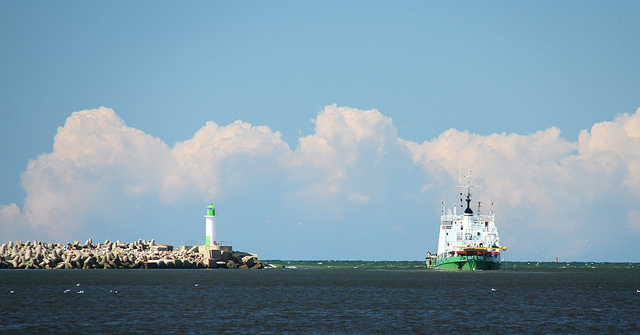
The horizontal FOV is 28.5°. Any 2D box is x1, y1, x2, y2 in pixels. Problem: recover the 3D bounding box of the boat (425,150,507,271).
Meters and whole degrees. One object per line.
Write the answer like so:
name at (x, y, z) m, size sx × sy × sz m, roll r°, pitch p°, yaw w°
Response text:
boat at (38.448, 17.817, 332.208) m, size 8.516 × 18.132 × 16.875 m, roll 9°, pitch -17°, yaw -33°
